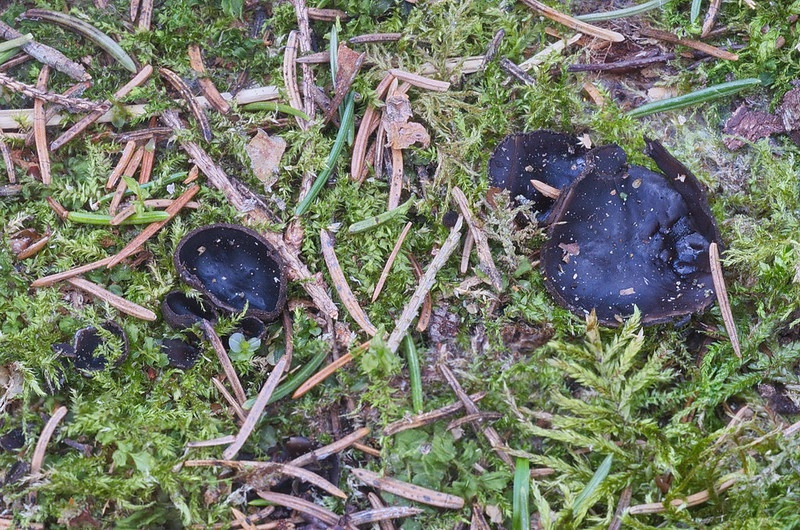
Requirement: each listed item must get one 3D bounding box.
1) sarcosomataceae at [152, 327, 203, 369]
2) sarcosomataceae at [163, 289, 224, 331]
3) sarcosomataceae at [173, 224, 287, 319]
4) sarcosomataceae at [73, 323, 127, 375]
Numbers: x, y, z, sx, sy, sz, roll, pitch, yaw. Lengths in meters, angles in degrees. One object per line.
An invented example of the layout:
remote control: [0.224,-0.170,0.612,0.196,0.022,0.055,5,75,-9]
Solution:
sarcosomataceae: [-1.217,0.477,4.132,0.240,0.087,0.265,42,37,12]
sarcosomataceae: [-1.146,0.265,4.083,0.315,0.126,0.178,13,64,4]
sarcosomataceae: [-0.889,0.042,4.078,0.632,0.287,0.426,33,67,13]
sarcosomataceae: [-1.641,0.445,4.038,0.312,0.116,0.234,-25,67,-13]
